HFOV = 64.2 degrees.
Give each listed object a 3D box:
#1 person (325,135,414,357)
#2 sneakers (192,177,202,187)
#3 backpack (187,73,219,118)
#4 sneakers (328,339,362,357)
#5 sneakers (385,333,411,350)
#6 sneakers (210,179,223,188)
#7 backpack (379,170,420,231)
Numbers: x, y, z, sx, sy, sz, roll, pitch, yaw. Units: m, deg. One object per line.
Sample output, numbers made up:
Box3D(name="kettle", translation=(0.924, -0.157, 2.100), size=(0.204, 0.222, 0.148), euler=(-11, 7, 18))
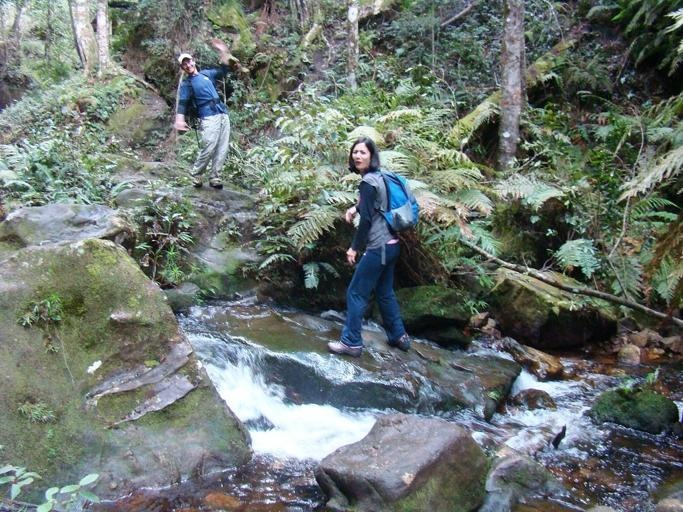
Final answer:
Box3D(name="person", translation=(0.428, -0.041, 7.201), size=(1.091, 2.832, 0.661), euler=(-6, 23, -19))
Box3D(name="sneakers", translation=(-2.564, -1.293, 9.660), size=(0.080, 0.106, 0.224), euler=(-5, 7, -25))
Box3D(name="backpack", translation=(-2.374, -2.718, 9.244), size=(0.325, 0.635, 0.523), euler=(1, 28, 24))
Box3D(name="sneakers", translation=(0.034, 1.254, 7.433), size=(0.483, 0.248, 0.187), euler=(15, 1, 6))
Box3D(name="sneakers", translation=(0.796, 1.212, 7.725), size=(0.140, 0.192, 0.377), euler=(3, 7, -30))
Box3D(name="sneakers", translation=(-2.251, -1.294, 9.781), size=(0.240, 0.113, 0.115), euler=(-2, 34, 45))
Box3D(name="backpack", translation=(0.760, -0.726, 7.266), size=(0.460, 0.838, 0.573), euler=(-6, 5, 39))
